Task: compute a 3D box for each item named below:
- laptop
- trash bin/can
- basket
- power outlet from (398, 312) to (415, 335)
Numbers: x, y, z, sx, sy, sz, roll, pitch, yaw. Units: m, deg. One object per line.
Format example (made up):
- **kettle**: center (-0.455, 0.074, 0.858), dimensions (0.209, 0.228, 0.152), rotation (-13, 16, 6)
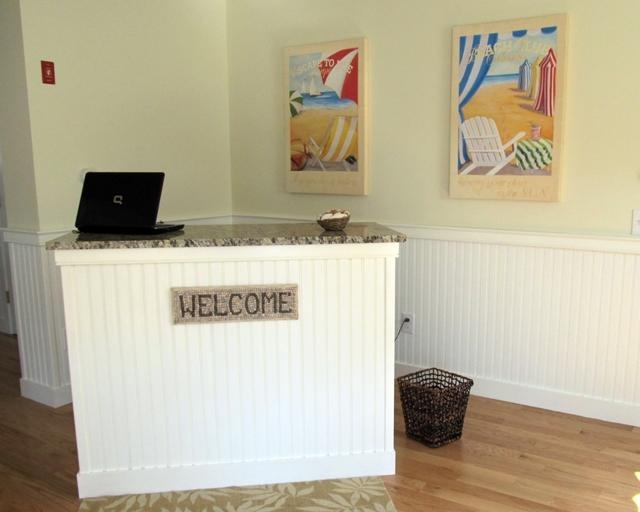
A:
- **laptop**: center (-1.056, -0.284, 3.013), dimensions (0.504, 0.295, 0.379), rotation (4, 1, 3)
- **trash bin/can**: center (0.725, 0.925, 3.401), dimensions (0.448, 0.314, 0.497), rotation (7, -4, -16)
- **basket**: center (0.698, 0.940, 3.496), dimensions (0.429, 0.347, 0.467), rotation (-4, 3, -32)
- **power outlet**: center (0.653, 0.503, 4.058), dimensions (0.173, 0.219, 0.030), rotation (3, 7, 36)
